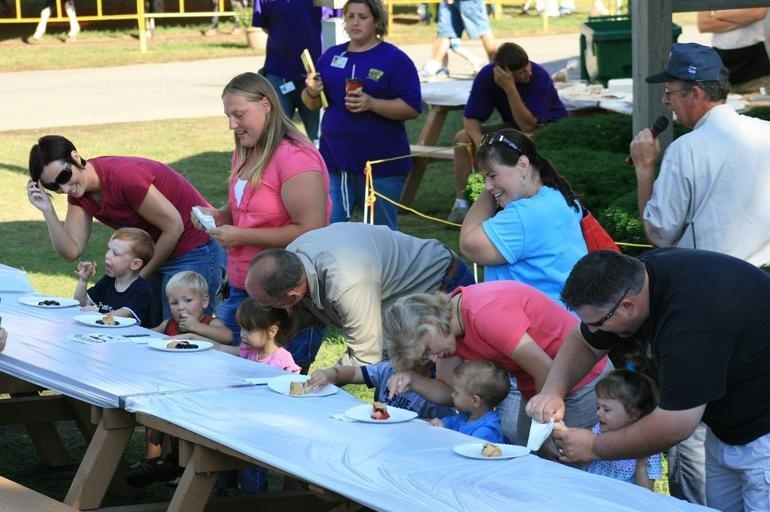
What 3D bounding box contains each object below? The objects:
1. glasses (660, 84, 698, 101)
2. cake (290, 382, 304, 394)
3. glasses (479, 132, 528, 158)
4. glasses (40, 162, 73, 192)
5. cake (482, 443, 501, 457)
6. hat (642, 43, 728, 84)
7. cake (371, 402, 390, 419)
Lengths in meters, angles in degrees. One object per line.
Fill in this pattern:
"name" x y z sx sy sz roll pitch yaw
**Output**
"glasses" 1.792 -1.023 6.168 0.040 0.093 0.174 -16 18 -36
"cake" -0.508 0.757 5.711 0.077 0.056 0.061 1 10 -1
"glasses" 0.746 -0.706 6.282 0.189 0.054 0.183 26 -10 -17
"glasses" -2.238 -0.535 6.933 0.202 0.066 0.196 -25 27 23
"cake" 0.540 0.994 5.124 0.057 0.040 0.073 -2 12 -39
"hat" 1.870 -1.182 6.141 0.378 0.215 0.149 -1 15 15
"cake" -0.031 0.839 5.427 0.088 0.077 0.089 -1 -6 -1
